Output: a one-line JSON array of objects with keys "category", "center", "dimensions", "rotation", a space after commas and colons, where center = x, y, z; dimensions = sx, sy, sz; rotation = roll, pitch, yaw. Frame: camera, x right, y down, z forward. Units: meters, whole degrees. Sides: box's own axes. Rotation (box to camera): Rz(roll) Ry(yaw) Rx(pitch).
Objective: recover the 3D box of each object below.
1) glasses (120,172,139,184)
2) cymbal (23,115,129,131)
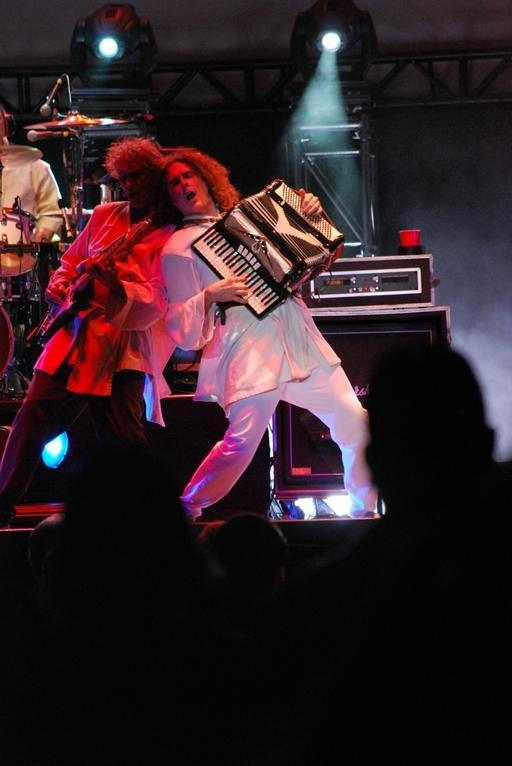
[{"category": "glasses", "center": [-0.435, -0.699, 2.407], "dimensions": [0.046, 0.030, 0.044], "rotation": [-6, 11, 13]}, {"category": "cymbal", "center": [-1.014, -1.583, 4.266], "dimensions": [0.428, 0.081, 0.434], "rotation": [15, 26, 42]}]
